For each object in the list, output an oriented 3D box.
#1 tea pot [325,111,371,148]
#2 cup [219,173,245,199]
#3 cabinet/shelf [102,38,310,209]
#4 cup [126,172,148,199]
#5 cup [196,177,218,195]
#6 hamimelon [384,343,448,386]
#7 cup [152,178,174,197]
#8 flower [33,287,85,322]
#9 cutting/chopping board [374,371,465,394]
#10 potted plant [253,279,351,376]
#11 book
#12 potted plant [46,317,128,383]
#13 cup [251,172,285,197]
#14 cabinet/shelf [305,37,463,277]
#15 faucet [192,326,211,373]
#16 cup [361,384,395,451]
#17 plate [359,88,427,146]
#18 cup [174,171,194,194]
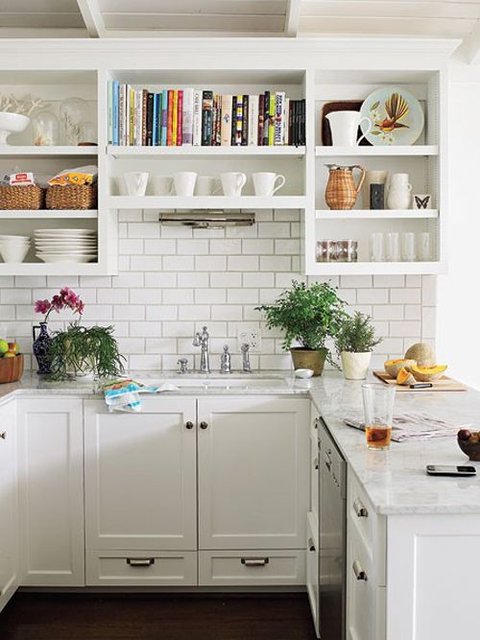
[{"bbox_3d":[0.509,-0.875,2.840,0.132,0.189,0.246,3,7,41],"label":"tea pot"},{"bbox_3d":[-0.031,-0.613,2.783,0.088,0.092,0.130,-1,12,-15],"label":"cup"},{"bbox_3d":[-0.164,-0.913,2.793,0.909,0.610,0.293,0,0,-1],"label":"cabinet/shelf"},{"bbox_3d":[-0.471,-0.617,2.836,0.102,0.087,0.119,0,-1,-4],"label":"cup"},{"bbox_3d":[-0.151,-0.620,2.891,0.125,0.083,0.080,0,2,-17],"label":"cup"},{"bbox_3d":[0.740,0.190,2.641,0.209,0.152,0.273,-4,10,-39],"label":"hamimelon"},{"bbox_3d":[-0.361,-0.604,2.848,0.101,0.075,0.081,0,1,-15],"label":"cup"},{"bbox_3d":[-0.858,-0.070,2.937,0.228,0.162,0.322,-3,5,-15],"label":"flower"},{"bbox_3d":[0.764,0.262,2.618,0.319,0.026,0.465,-1,5,3],"label":"cutting/chopping board"},{"bbox_3d":[0.288,0.050,2.850,0.392,0.422,0.257,-1,5,6],"label":"potted plant"},{"bbox_3d":[-0.150,-0.925,2.771,0.892,0.300,0.035,-1,5,0],"label":"book"},{"bbox_3d":[-0.704,0.127,2.781,0.307,0.258,0.188,-3,9,-30],"label":"potted plant"},{"bbox_3d":[0.130,-0.620,2.858,0.182,0.119,0.120,1,-2,-9],"label":"cup"},{"bbox_3d":[0.738,-0.748,3.017,0.839,0.975,0.305,2,9,5],"label":"cabinet/shelf"},{"bbox_3d":[-0.187,0.142,2.995,0.080,0.210,0.178,-2,5,-4],"label":"faucet"},{"bbox_3d":[0.375,0.246,1.588,0.073,0.204,0.090,3,7,-15],"label":"cup"},{"bbox_3d":[0.729,-0.952,2.895,0.311,0.277,0.165,2,8,11],"label":"plate"},{"bbox_3d":[-0.249,-0.619,2.790,0.102,0.091,0.095,2,7,0],"label":"cup"}]
